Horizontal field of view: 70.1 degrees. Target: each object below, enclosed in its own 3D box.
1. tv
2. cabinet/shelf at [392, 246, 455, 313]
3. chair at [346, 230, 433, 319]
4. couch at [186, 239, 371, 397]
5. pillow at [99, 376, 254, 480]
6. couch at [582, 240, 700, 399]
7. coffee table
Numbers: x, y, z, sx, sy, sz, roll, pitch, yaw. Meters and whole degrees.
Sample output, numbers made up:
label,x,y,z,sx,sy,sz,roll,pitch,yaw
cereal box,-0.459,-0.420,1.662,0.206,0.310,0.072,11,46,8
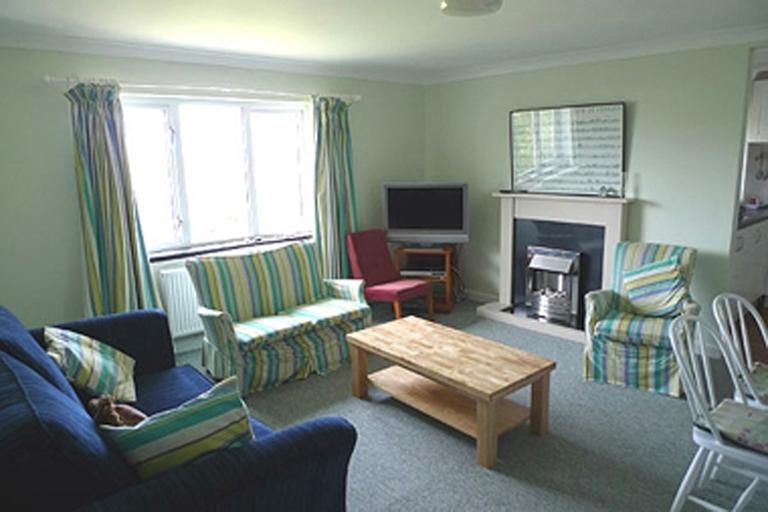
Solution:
label,x,y,z,sx,sy,sz,roll,pitch,yaw
tv,0.509,-0.479,6.639,1.271,0.897,0.641,0,2,10
cabinet/shelf,0.462,0.269,6.635,0.770,0.685,0.606,0,3,7
chair,0.066,0.241,6.132,0.774,1.013,0.647,8,15,42
couch,-0.964,0.528,5.185,0.958,1.087,1.589,9,15,43
pillow,-0.993,0.841,2.662,0.557,0.469,0.166,-22,-17,-18
couch,2.292,0.495,4.823,0.851,1.196,0.758,5,15,36
coffee table,0.522,1.018,4.404,1.465,0.734,0.737,7,16,43
